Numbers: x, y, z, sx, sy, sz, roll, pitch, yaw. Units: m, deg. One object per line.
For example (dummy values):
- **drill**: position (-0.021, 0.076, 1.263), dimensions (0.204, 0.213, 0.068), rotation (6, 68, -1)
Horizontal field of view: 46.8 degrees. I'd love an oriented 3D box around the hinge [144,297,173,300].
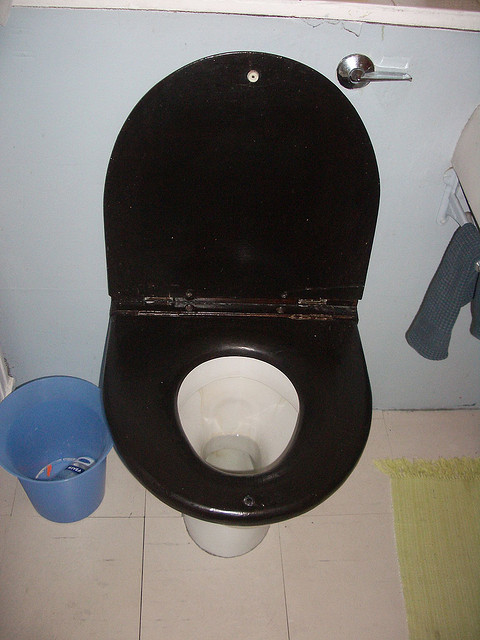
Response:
- **hinge**: position (-0.139, -0.036, 0.930), dimensions (0.026, 0.005, 0.006), rotation (3, 1, -4)
